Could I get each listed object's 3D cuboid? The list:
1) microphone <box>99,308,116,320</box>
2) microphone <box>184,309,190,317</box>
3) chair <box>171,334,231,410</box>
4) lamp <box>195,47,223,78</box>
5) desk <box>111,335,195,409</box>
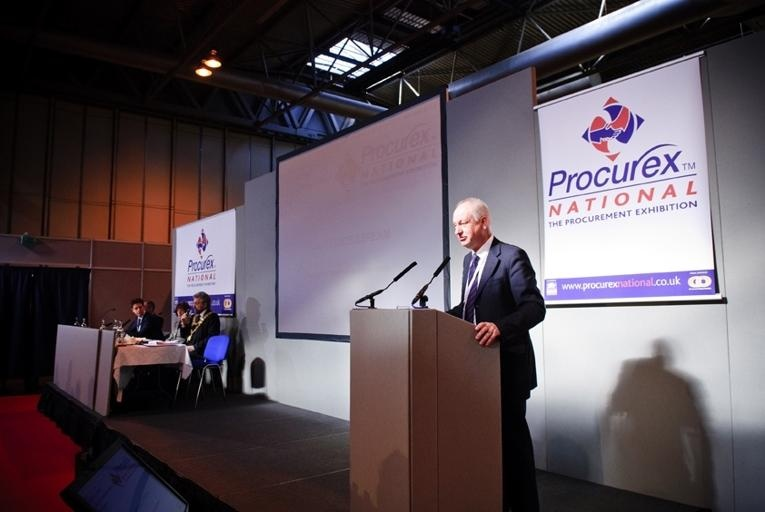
[{"bbox_3d":[-5.596,1.202,11.072,0.261,0.237,0.342,1,-4,-28],"label":"microphone"},{"bbox_3d":[-3.041,0.884,8.411,0.087,0.072,0.181,4,-11,-10],"label":"microphone"},{"bbox_3d":[-2.494,1.528,7.615,0.415,0.866,0.501,1,-10,30],"label":"chair"},{"bbox_3d":[-2.734,-2.981,8.518,0.426,0.332,0.605,-12,2,-32],"label":"lamp"},{"bbox_3d":[-3.072,1.752,7.104,1.060,0.599,1.243,-9,-45,-20],"label":"desk"}]
